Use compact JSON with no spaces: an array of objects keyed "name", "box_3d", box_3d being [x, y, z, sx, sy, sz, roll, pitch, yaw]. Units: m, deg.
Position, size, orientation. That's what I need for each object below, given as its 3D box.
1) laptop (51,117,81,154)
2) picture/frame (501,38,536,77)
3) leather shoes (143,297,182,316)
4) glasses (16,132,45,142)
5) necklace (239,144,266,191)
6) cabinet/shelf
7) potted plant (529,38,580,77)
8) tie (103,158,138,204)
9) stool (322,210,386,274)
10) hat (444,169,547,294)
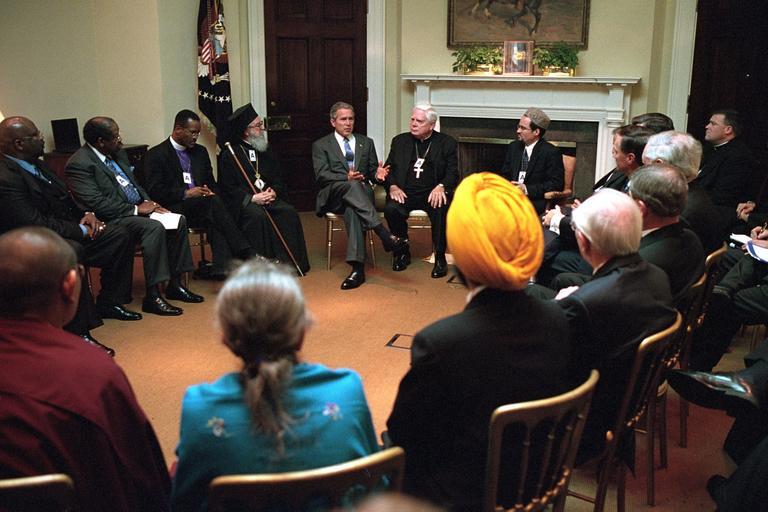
[{"name":"laptop","box_3d":[-3.160,-1.206,5.745,0.232,0.336,0.116,-12,-11,-21]},{"name":"picture/frame","box_3d":[1.503,-2.206,6.402,0.424,0.454,0.151,1,6,18]},{"name":"leather shoes","box_3d":[-1.692,0.388,4.441,0.317,0.139,0.133,5,8,5]},{"name":"glasses","box_3d":[-2.430,-0.828,4.002,0.091,0.057,0.253,-3,17,-7]},{"name":"necklace","box_3d":[-1.193,-0.839,5.227,0.157,0.510,0.035,-22,-6,-35]},{"name":"cabinet/shelf","box_3d":[-2.884,-0.751,5.854,0.553,0.725,0.979,3,12,11]},{"name":"potted plant","box_3d":[1.931,-2.168,6.441,0.570,0.292,0.592,-8,16,-27]},{"name":"tie","box_3d":[-2.059,-0.605,4.552,0.107,0.305,0.227,-29,33,8]},{"name":"stool","box_3d":[-0.342,-0.098,5.613,0.540,0.684,0.721,0,16,5]},{"name":"hat","box_3d":[0.365,-0.086,1.871,0.284,0.353,0.238,6,17,23]}]
